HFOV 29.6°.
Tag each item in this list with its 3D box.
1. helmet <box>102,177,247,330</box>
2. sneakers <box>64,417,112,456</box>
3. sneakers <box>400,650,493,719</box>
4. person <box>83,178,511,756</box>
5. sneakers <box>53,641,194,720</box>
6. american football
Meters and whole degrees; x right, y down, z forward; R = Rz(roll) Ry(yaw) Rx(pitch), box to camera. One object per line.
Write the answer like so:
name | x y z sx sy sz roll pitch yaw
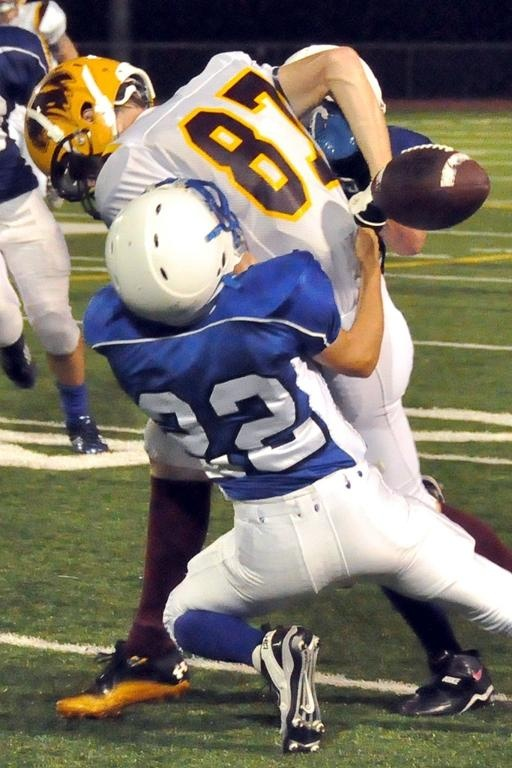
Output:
helmet | -0.150 -0.251 1.803 0.266 0.269 0.222 -24 51 -32
sneakers | -0.696 0.204 3.965 0.104 0.089 0.229 -19 29 -27
sneakers | 0.417 0.654 2.080 0.215 0.078 0.107 -12 8 -23
person | 0.084 0.156 1.919 0.533 0.995 0.794 -20 40 -29
sneakers | -0.294 0.659 2.172 0.319 0.123 0.093 -12 5 -4
american football | 0.353 -0.404 1.954 0.196 0.154 0.268 -24 25 -30
